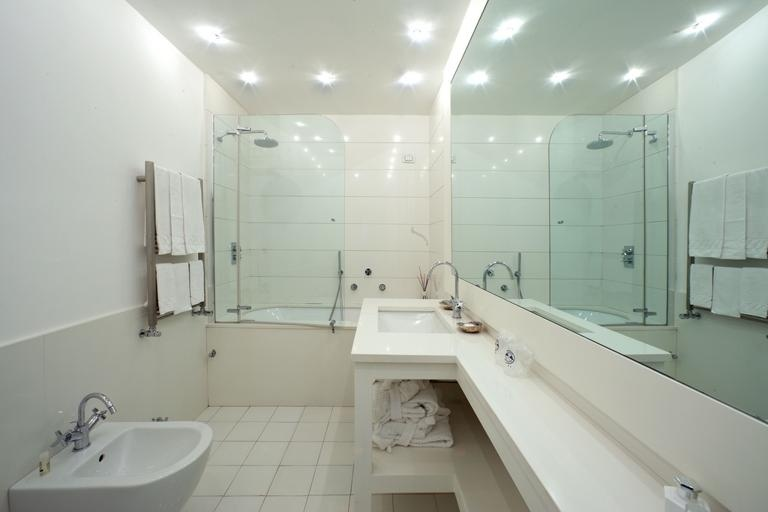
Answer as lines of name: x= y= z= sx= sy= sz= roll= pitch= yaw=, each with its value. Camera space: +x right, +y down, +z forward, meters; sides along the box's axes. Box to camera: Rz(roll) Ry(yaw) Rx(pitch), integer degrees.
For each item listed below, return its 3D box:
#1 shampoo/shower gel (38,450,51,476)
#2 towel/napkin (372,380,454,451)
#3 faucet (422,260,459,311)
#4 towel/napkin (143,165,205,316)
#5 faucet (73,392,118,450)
shampoo/shower gel: x=-1.761 y=1.082 z=2.719 sx=0.054 sy=0.105 sz=0.062 roll=-5 pitch=6 yaw=-36
towel/napkin: x=0.125 y=0.943 z=3.094 sx=0.384 sy=0.141 sz=0.393 roll=0 pitch=10 yaw=-1
faucet: x=0.394 y=0.229 z=3.475 sx=0.265 sy=0.395 sz=0.229 roll=0 pitch=-6 yaw=6
towel/napkin: x=-1.380 y=-0.111 z=3.522 sx=0.180 sy=0.978 sz=0.551 roll=-1 pitch=5 yaw=5
faucet: x=-1.577 y=0.907 z=2.874 sx=0.202 sy=0.330 sz=0.308 roll=1 pitch=9 yaw=-17
